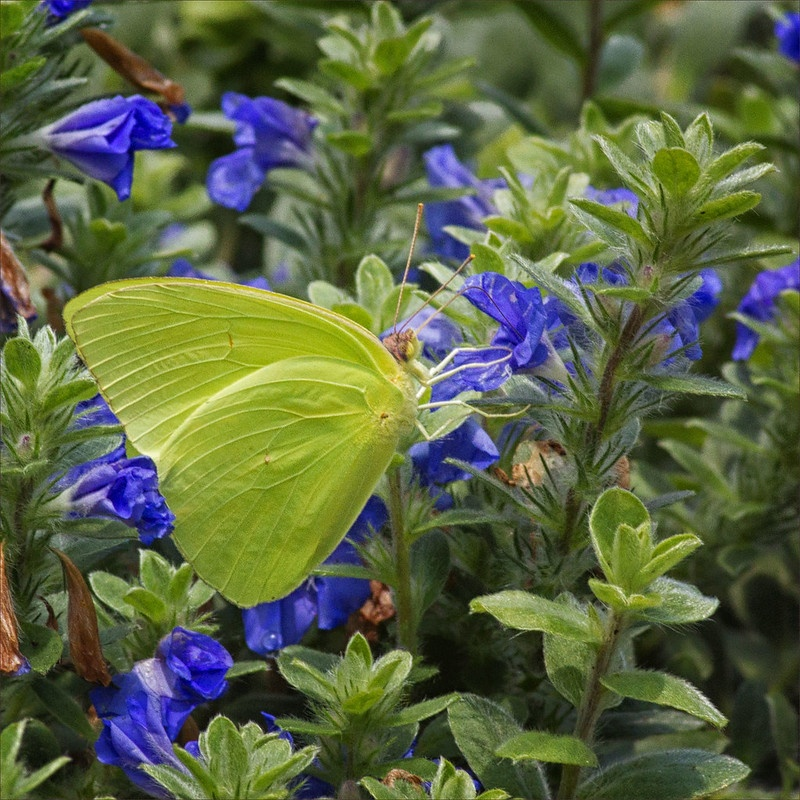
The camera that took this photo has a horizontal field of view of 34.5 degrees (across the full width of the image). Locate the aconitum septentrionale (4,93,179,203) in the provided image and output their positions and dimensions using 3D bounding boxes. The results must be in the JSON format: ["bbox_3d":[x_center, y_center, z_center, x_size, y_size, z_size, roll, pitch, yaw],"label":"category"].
[{"bbox_3d":[-0.413,-0.395,1.853,0.134,0.174,0.265,9,21,20],"label":"aconitum septentrionale"}]

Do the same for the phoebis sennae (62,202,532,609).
[{"bbox_3d":[-0.153,-0.021,1.935,0.601,0.403,0.464,-27,94,-25],"label":"phoebis sennae"}]

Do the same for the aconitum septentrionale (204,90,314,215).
[{"bbox_3d":[-0.249,-0.415,2.147,0.098,0.206,0.211,21,92,33],"label":"aconitum septentrionale"}]
